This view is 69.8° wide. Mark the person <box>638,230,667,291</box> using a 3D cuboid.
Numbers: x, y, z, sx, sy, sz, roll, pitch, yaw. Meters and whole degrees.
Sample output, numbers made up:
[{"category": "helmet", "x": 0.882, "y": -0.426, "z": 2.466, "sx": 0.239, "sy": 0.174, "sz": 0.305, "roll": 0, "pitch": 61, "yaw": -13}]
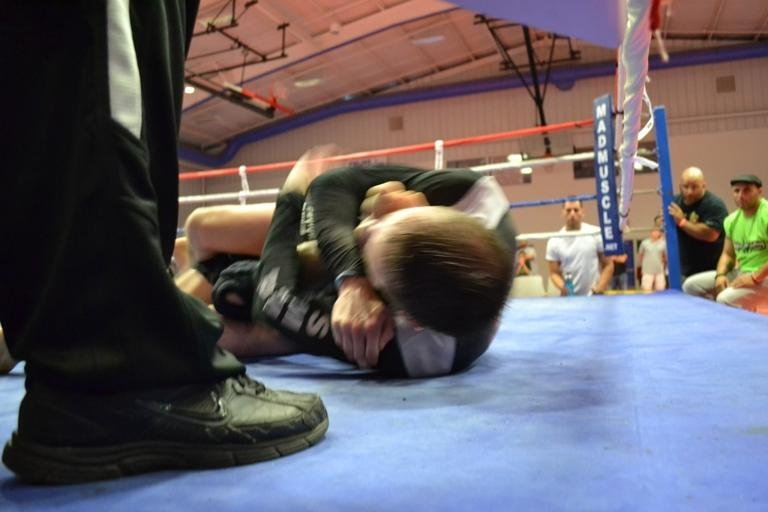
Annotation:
[{"category": "person", "x": 3.618, "y": 0.131, "z": 7.381, "sx": 0.345, "sy": 1.107, "sz": 0.322, "roll": -3, "pitch": 30, "yaw": 23}]

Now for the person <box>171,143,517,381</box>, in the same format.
[{"category": "person", "x": -0.077, "y": 0.037, "z": 1.618, "sx": 0.913, "sy": 0.405, "sz": 0.600, "roll": 0, "pitch": 33, "yaw": 38}]

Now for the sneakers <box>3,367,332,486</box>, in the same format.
[{"category": "sneakers", "x": -0.386, "y": 0.314, "z": 1.105, "sx": 0.575, "sy": 0.270, "sz": 0.208, "roll": 1, "pitch": -7, "yaw": -15}]

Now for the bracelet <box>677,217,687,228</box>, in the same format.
[{"category": "bracelet", "x": 2.230, "y": -0.249, "z": 4.120, "sx": 0.057, "sy": 0.016, "sz": 0.059, "roll": -34, "pitch": -2, "yaw": -11}]

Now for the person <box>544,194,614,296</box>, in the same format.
[{"category": "person", "x": 1.897, "y": -0.052, "z": 5.379, "sx": 0.604, "sy": 1.067, "sz": 0.566, "roll": -4, "pitch": -15, "yaw": 15}]

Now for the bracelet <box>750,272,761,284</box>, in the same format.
[{"category": "bracelet", "x": 2.450, "y": 0.149, "z": 3.628, "sx": 0.067, "sy": 0.039, "sz": 0.059, "roll": 22, "pitch": 25, "yaw": -49}]

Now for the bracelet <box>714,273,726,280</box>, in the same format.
[{"category": "bracelet", "x": 2.500, "y": 0.155, "z": 4.091, "sx": 0.049, "sy": 0.021, "sz": 0.057, "roll": -3, "pitch": -10, "yaw": 10}]
